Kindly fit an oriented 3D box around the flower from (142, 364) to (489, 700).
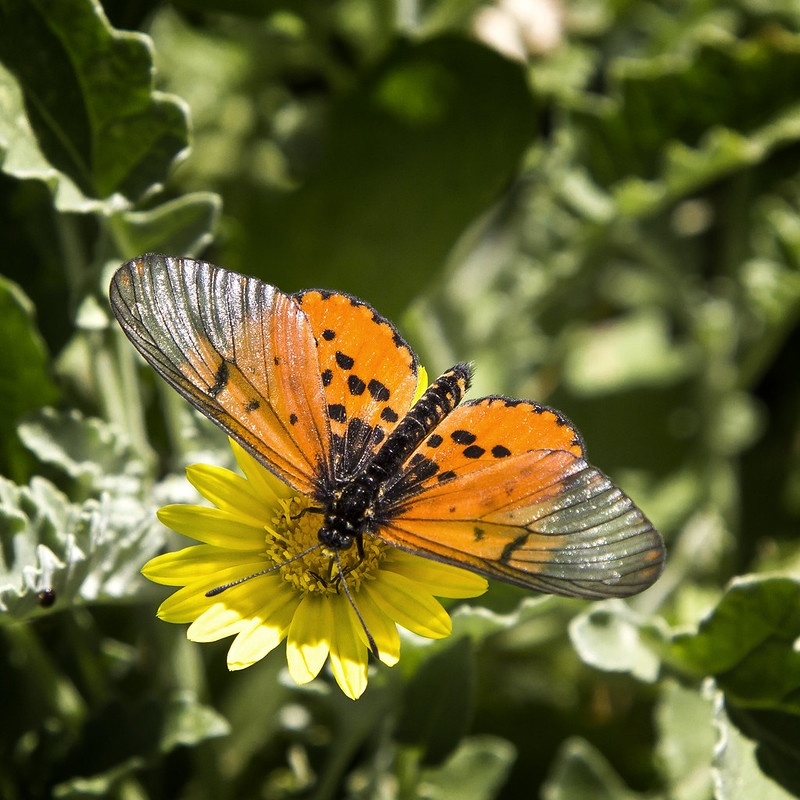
[{"bbox_3d":[-0.075,0.224,1.466,0.483,0.533,0.174,-46,49,11],"label":"flower"}]
